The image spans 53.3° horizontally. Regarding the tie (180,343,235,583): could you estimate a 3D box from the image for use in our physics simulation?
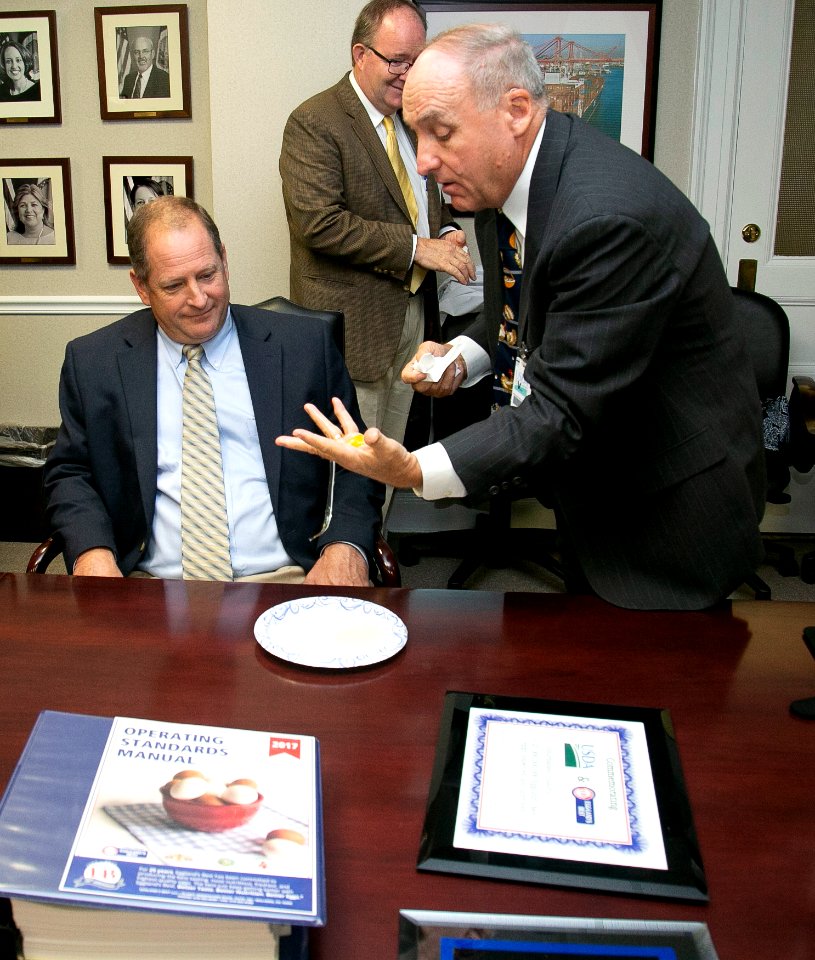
[{"bbox_3d":[-0.452,-0.046,1.802,0.104,0.502,0.179,-1,9,-33],"label":"tie"}]

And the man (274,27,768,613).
[{"bbox_3d":[0.263,-0.253,1.381,0.810,0.878,0.497,2,8,-12],"label":"man"}]

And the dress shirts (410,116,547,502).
[{"bbox_3d":[0.110,-0.235,1.335,0.157,0.508,0.322,3,-8,23],"label":"dress shirts"}]

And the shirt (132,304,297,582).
[{"bbox_3d":[-0.423,-0.064,1.756,0.319,0.585,0.141,0,-11,-14],"label":"shirt"}]
